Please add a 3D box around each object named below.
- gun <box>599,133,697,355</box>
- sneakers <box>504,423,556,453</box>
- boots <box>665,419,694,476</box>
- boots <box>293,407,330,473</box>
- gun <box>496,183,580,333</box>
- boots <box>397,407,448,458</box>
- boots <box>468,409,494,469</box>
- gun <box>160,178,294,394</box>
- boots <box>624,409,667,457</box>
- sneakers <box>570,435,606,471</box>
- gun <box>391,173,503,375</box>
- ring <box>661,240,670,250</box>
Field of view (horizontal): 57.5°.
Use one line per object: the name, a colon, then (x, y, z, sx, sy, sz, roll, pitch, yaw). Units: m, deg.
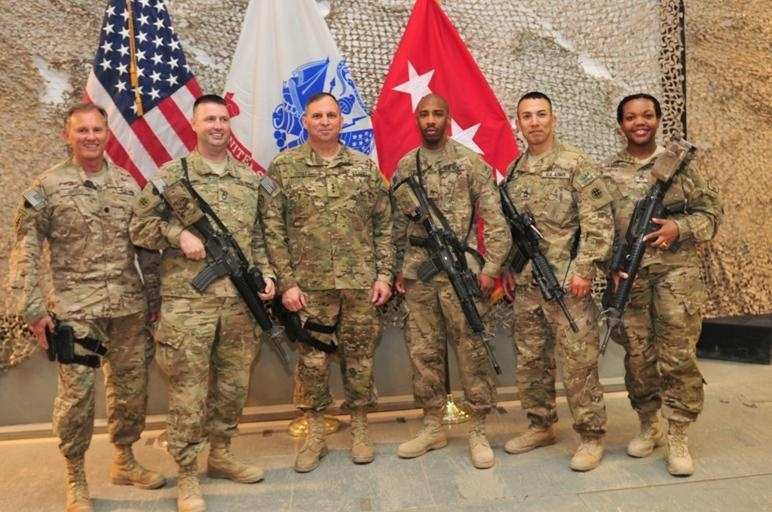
gun: (1.988, -0.067, 5.279, 0.558, 1.710, 0.257, 22, 6, -6)
sneakers: (1.128, 1.443, 5.615, 0.496, 0.202, 0.157, -9, 28, -13)
boots: (2.193, 1.395, 5.239, 0.173, 0.403, 0.456, 2, 9, 13)
boots: (-0.590, 1.439, 5.520, 0.201, 0.413, 0.445, 2, 12, 16)
gun: (1.188, -0.010, 5.385, 0.179, 1.221, 0.444, -14, -26, -21)
boots: (0.276, 1.415, 5.614, 0.511, 0.325, 0.165, -9, 7, -34)
boots: (0.734, 1.438, 5.489, 0.189, 0.320, 0.527, -7, 4, 0)
gun: (-1.113, 0.141, 5.184, 0.617, 1.391, 0.498, -5, 22, -1)
boots: (2.006, 1.378, 5.462, 0.459, 0.300, 0.150, -11, 4, -40)
sneakers: (1.527, 1.477, 5.306, 0.214, 0.206, 0.331, 5, 23, 22)
gun: (0.469, 0.097, 5.498, 0.743, 1.706, 0.261, -27, -8, 23)
ring: (2.081, -0.080, 5.218, 0.026, 0.045, 0.065, 5, -11, -42)
